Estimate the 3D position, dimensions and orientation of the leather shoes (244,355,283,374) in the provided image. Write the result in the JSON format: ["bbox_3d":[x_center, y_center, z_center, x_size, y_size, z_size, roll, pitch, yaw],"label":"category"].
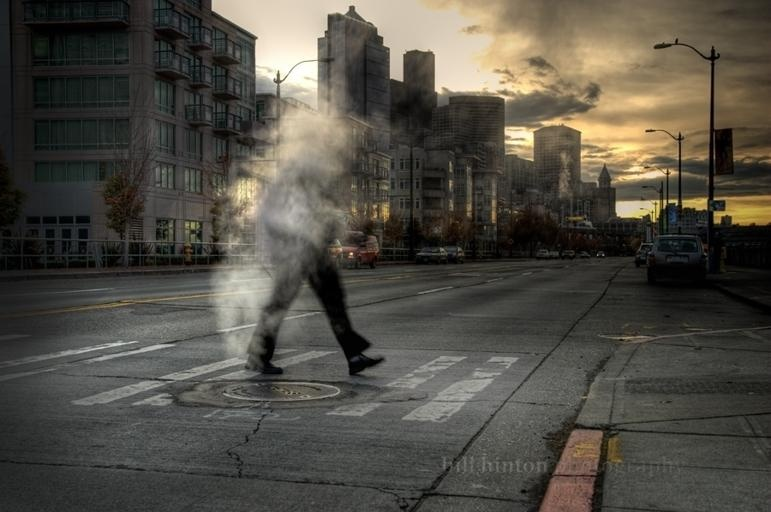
[{"bbox_3d":[-1.511,1.358,9.091,0.481,0.214,0.199,1,1,17],"label":"leather shoes"}]
